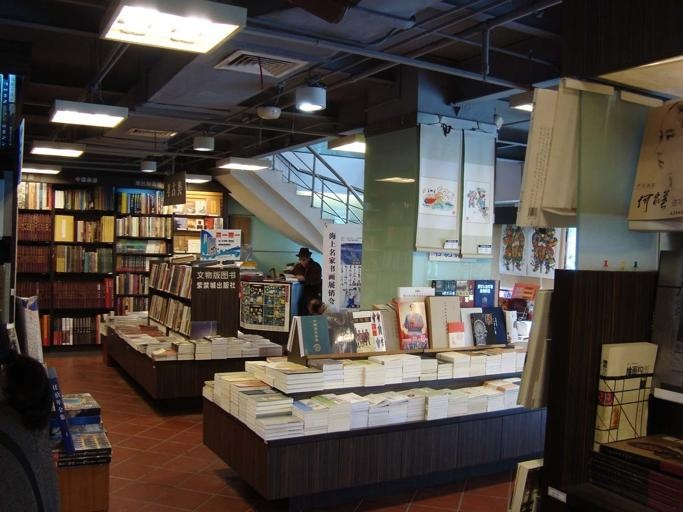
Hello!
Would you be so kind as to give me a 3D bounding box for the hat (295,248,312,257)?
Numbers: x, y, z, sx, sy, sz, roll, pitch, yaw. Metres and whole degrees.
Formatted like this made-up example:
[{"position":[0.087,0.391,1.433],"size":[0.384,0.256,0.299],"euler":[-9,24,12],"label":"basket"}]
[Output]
[{"position":[-0.626,-0.075,9.569],"size":[0.223,0.099,0.256],"euler":[-9,-2,5],"label":"hat"}]
